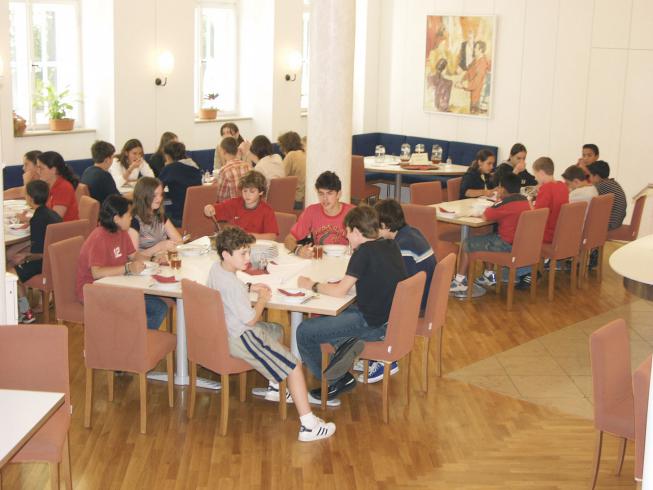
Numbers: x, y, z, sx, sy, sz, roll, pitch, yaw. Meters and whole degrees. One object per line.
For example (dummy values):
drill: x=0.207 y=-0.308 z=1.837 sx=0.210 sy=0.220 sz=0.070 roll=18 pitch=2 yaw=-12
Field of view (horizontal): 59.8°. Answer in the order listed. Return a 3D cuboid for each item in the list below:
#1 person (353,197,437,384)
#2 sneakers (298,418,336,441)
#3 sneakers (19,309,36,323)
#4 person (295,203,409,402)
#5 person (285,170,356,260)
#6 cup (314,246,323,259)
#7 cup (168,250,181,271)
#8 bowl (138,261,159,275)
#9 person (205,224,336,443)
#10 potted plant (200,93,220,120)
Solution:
person: x=0.453 y=0.341 z=4.452 sx=0.611 sy=1.354 sz=0.514 roll=8 pitch=8 yaw=-9
sneakers: x=-0.063 y=1.239 z=3.916 sx=0.285 sy=0.145 sz=0.110 roll=-8 pitch=17 yaw=-25
sneakers: x=-2.853 y=0.672 z=5.367 sx=0.106 sy=0.054 sz=0.114 roll=3 pitch=20 yaw=-2
person: x=0.104 y=0.377 z=4.167 sx=0.731 sy=1.398 sz=0.615 roll=5 pitch=20 yaw=-3
person: x=0.005 y=-0.227 z=5.026 sx=0.747 sy=0.807 sz=0.480 roll=3 pitch=14 yaw=17
cup: x=-0.067 y=0.053 z=4.728 sx=0.080 sy=0.100 sz=0.082 roll=0 pitch=17 yaw=0
cup: x=-1.175 y=0.109 z=4.390 sx=0.089 sy=0.150 sz=0.148 roll=-2 pitch=7 yaw=-5
bowl: x=-1.343 y=0.172 z=4.273 sx=0.095 sy=0.023 sz=0.094 roll=2 pitch=29 yaw=-1
person: x=-0.402 y=0.577 z=3.954 sx=0.667 sy=1.429 sz=0.889 roll=-8 pitch=10 yaw=-32
potted plant: x=-2.156 y=-2.543 z=10.451 sx=0.342 sy=0.535 sz=0.504 roll=1 pitch=7 yaw=-1
